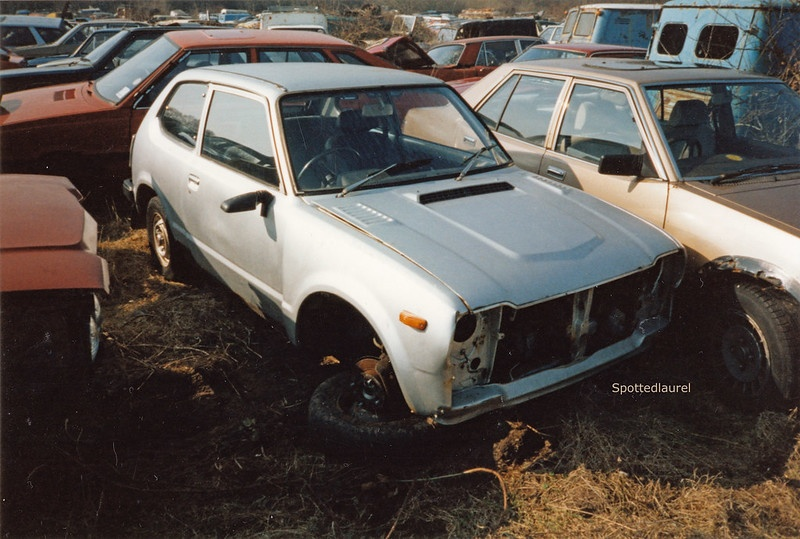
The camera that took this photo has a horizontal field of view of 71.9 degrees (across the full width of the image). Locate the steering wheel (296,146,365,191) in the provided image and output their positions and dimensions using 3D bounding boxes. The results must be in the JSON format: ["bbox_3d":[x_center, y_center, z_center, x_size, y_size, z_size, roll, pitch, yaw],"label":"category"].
[{"bbox_3d":[-0.552,-0.788,4.277,0.444,0.153,0.403,-10,20,32],"label":"steering wheel"}]

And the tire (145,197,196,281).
[{"bbox_3d":[-2.332,-0.331,5.751,0.376,0.875,0.970,-12,12,-31],"label":"tire"}]

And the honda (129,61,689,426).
[{"bbox_3d":[-0.417,-0.560,4.600,2.611,1.578,4.115,-23,37,-36],"label":"honda"}]

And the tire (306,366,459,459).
[{"bbox_3d":[-0.188,0.969,3.888,0.842,0.182,0.789,-9,30,-33],"label":"tire"}]

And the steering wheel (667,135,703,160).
[{"bbox_3d":[2.484,-1.075,4.826,0.272,0.109,0.317,-10,39,-14],"label":"steering wheel"}]
